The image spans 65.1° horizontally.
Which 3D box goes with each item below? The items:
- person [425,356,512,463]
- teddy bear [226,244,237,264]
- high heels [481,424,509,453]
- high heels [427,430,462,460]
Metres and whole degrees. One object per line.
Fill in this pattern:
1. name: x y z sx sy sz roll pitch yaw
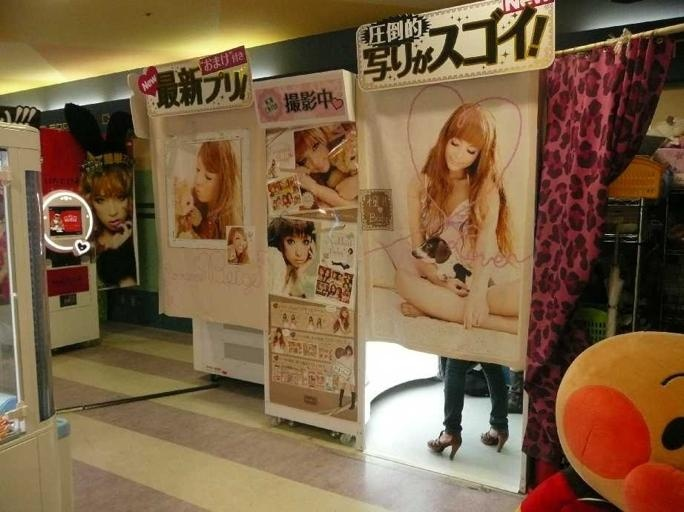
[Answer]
1. person: 0.894 0.950 3.790 0.534 0.914 0.376 -3 15 3
2. teddy bear: -0.839 -0.005 4.066 0.040 0.118 0.110 0 4 -44
3. high heels: 1.065 1.260 3.781 0.108 0.164 0.210 -4 14 -15
4. high heels: 0.717 1.280 3.754 0.223 0.180 0.128 14 14 34
